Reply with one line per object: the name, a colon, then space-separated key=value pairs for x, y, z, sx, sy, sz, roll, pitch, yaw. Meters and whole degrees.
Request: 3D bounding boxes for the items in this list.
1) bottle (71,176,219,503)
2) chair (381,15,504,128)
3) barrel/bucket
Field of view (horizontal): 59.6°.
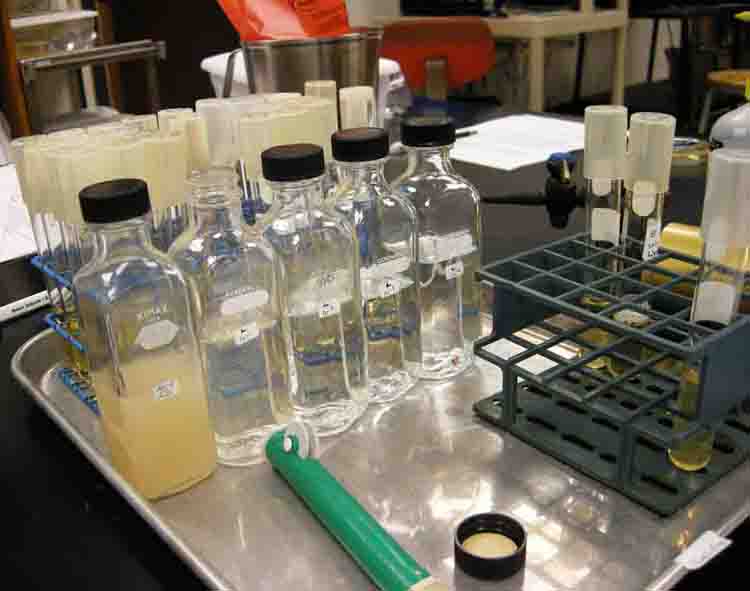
bottle: x=-0.269 y=0.054 z=0.755 sx=0.127 sy=0.365 sz=0.112 roll=-23 pitch=30 yaw=-32
chair: x=0.322 y=-1.135 z=3.123 sx=0.520 sy=0.484 sz=0.440 roll=-1 pitch=47 yaw=6
barrel/bucket: x=-0.103 y=-0.420 z=1.232 sx=0.161 sy=0.144 sz=0.195 roll=-18 pitch=27 yaw=-37
